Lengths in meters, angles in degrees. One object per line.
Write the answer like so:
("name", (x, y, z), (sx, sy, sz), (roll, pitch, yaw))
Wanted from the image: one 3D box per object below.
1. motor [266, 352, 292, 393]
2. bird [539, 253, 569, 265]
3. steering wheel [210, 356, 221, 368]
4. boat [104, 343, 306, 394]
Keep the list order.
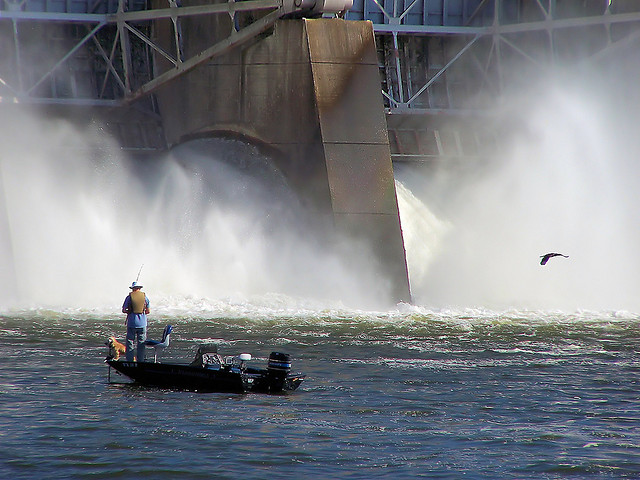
("motor", (-0.937, 3.140, 26.897), (0.629, 0.934, 0.580), (6, -13, 26))
("bird", (6.675, 0.516, 33.125), (0.607, 0.173, 0.575), (7, 34, 27))
("steering wheel", (-2.482, 2.869, 27.048), (0.208, 0.194, 0.042), (-1, -40, -24))
("boat", (-2.391, 3.155, 27.347), (5.628, 1.174, 1.558), (4, -15, 10))
